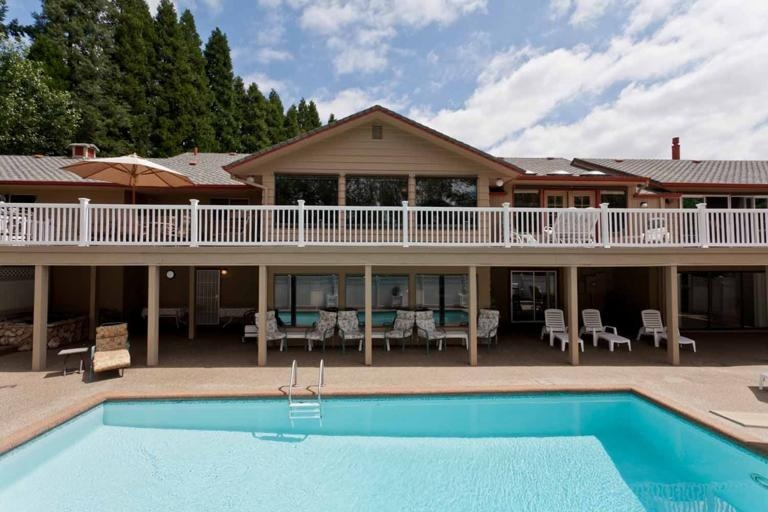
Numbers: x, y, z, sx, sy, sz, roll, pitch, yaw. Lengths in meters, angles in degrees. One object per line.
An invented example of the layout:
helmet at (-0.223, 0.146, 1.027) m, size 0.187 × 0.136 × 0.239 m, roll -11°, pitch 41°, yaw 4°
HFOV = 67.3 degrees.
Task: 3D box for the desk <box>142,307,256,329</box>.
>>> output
desk at (-9.143, 3.127, 29.711) m, size 5.941 × 1.090 × 1.935 m, roll -2°, pitch -2°, yaw 7°

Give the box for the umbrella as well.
umbrella at (-11.252, -3.236, 25.467) m, size 3.909 × 2.114 × 4.751 m, roll 0°, pitch -3°, yaw -39°

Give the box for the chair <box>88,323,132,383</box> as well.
chair at (-11.044, 3.843, 23.482) m, size 1.439 × 2.111 × 1.503 m, roll -1°, pitch -3°, yaw -22°

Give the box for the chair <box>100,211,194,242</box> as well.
chair at (-10.112, -1.330, 25.155) m, size 2.749 × 1.614 × 4.135 m, roll 0°, pitch -3°, yaw -35°
